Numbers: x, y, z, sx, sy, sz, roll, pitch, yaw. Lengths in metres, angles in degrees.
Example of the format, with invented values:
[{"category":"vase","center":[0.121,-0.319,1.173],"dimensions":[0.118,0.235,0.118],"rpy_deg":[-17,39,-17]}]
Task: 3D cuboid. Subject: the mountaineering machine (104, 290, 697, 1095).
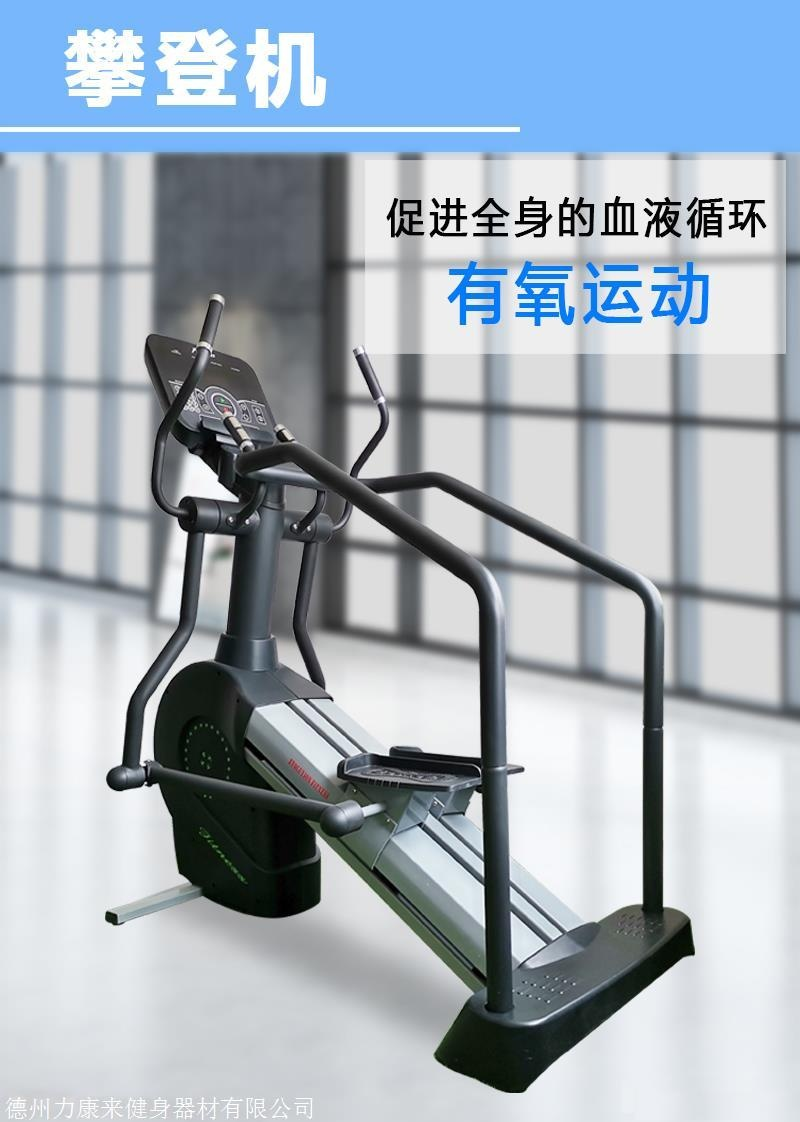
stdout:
[{"category":"mountaineering machine","center":[-0.027,0.189,1.979],"dimensions":[1.085,1.201,0.707],"rpy_deg":[2,1,37]}]
